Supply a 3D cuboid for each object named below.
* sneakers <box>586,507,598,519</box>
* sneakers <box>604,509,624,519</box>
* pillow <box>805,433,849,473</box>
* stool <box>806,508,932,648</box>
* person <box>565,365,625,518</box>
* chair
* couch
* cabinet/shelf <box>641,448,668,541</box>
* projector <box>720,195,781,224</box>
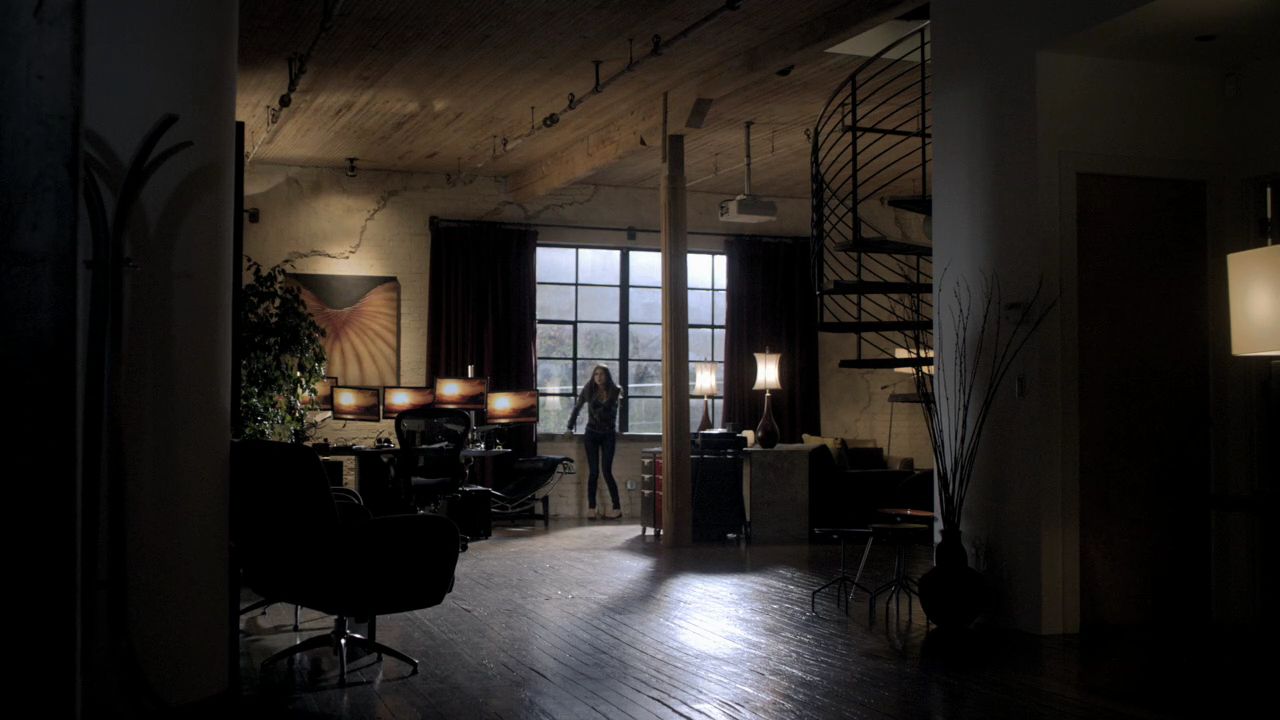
[{"bbox_3d":[-0.643,2.040,13.256,0.117,0.135,0.335,0,-14,-2],"label":"sneakers"},{"bbox_3d":[-0.356,2.061,13.291,0.108,0.122,0.318,4,-13,-25],"label":"sneakers"},{"bbox_3d":[2.159,1.064,11.426,0.395,0.126,0.428,26,-10,-31],"label":"pillow"},{"bbox_3d":[1.987,1.797,8.324,0.967,0.541,1.058,-3,4,-29],"label":"stool"},{"bbox_3d":[-0.565,1.095,13.081,0.596,2.016,0.623,-2,2,-39],"label":"person"},{"bbox_3d":[-2.070,1.268,7.200,1.689,2.139,1.886,2,1,-8],"label":"chair"},{"bbox_3d":[1.881,1.250,10.602,0.799,1.103,1.545,13,-26,-21],"label":"couch"},{"bbox_3d":[0.121,1.541,11.514,0.193,1.050,0.762,-1,2,-4],"label":"cabinet/shelf"},{"bbox_3d":[1.276,-1.670,11.280,0.561,0.263,0.557,2,-3,-21],"label":"projector"}]
